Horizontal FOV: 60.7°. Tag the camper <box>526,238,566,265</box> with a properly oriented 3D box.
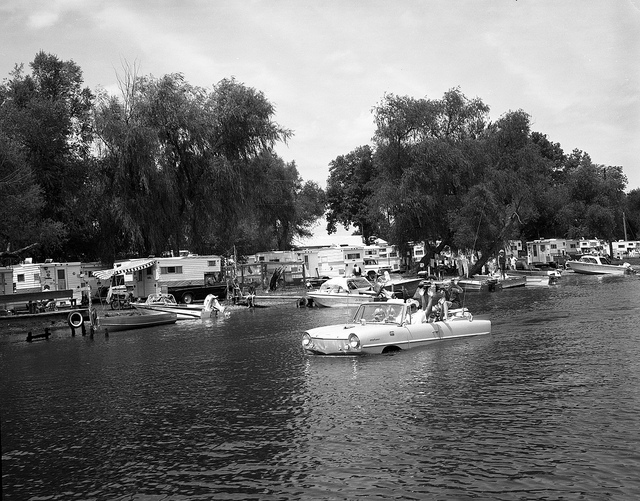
[{"bbox_3d":[27.341,0.002,66.733,3.991,3.084,2.742,-3,0,22],"label":"camper"}]

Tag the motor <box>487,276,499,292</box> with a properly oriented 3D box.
[{"bbox_3d":[13.334,2.636,42.550,0.918,1.066,1.009,0,0,0],"label":"motor"}]

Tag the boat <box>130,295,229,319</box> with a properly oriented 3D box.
[{"bbox_3d":[-8.926,3.615,33.468,5.193,1.667,4.347,-1,4,40],"label":"boat"}]

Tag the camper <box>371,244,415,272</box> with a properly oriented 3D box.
[{"bbox_3d":[9.346,0.966,64.331,5.770,3.420,2.361,0,-1,-4],"label":"camper"}]

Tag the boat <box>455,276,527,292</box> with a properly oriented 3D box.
[{"bbox_3d":[13.693,2.599,43.784,6.508,1.133,2.124,-3,0,-31],"label":"boat"}]

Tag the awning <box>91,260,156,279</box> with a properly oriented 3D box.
[{"bbox_3d":[-13.652,1.269,38.012,2.026,1.226,4.108,-3,0,22],"label":"awning"}]

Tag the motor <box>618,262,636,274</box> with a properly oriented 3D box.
[{"bbox_3d":[31.513,1.854,56.092,1.173,1.094,4.251,-3,0,30],"label":"motor"}]

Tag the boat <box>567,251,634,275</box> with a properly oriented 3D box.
[{"bbox_3d":[28.958,1.488,57.023,1.569,2.258,5.983,-2,-1,-34],"label":"boat"}]

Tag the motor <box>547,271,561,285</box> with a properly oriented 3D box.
[{"bbox_3d":[19.981,2.362,46.921,0.722,1.164,2.640,1,-2,24],"label":"motor"}]

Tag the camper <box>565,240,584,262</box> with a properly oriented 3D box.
[{"bbox_3d":[31.063,0.021,66.978,1.921,2.210,1.296,3,11,28],"label":"camper"}]

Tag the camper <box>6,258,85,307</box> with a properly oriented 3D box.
[{"bbox_3d":[-19.124,1.657,38.440,4.193,3.042,1.281,-3,0,-40],"label":"camper"}]
